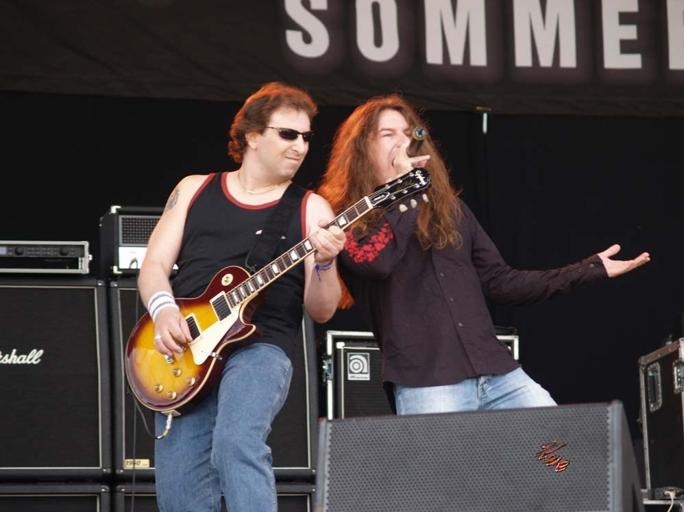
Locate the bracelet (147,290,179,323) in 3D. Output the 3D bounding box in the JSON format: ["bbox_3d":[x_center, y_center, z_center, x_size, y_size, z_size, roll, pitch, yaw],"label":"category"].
[{"bbox_3d":[-0.679,0.192,3.308,0.024,0.114,0.107,9,-10,3],"label":"bracelet"}]

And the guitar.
[{"bbox_3d":[-0.353,0.057,3.390,1.250,0.449,0.156,-41,52,-13],"label":"guitar"}]

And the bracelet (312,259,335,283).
[{"bbox_3d":[-0.068,0.053,3.299,0.077,0.073,0.064,-2,2,-4],"label":"bracelet"}]

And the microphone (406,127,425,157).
[{"bbox_3d":[0.286,-0.445,3.428,0.054,0.066,0.192,-24,-13,-7],"label":"microphone"}]
